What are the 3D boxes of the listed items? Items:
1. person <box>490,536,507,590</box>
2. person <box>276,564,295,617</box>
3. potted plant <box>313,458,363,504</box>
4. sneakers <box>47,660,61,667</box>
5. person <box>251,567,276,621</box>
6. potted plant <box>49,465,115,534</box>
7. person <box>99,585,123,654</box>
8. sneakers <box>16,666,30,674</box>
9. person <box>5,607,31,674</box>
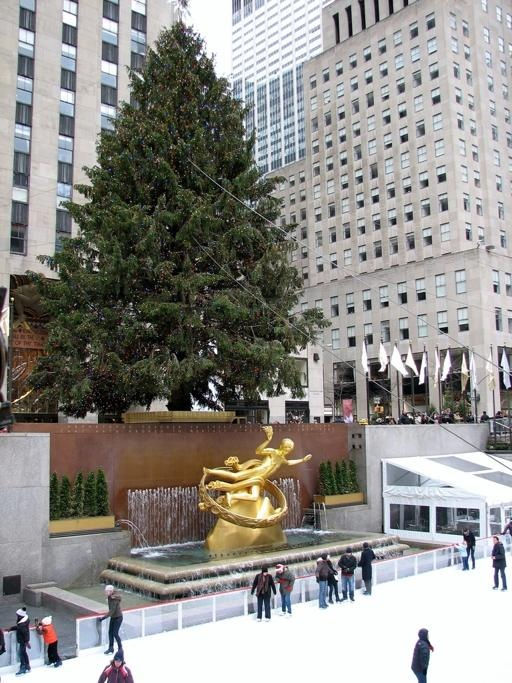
[{"bbox_3d":[6.116,5.603,15.145,0.316,1.200,1.289,-3,-7,21],"label":"person"},{"bbox_3d":[0.571,4.880,11.810,0.346,1.020,0.574,0,-7,2],"label":"person"},{"bbox_3d":[3.218,5.656,24.087,1.540,1.588,0.650,7,-18,-39],"label":"potted plant"},{"bbox_3d":[-2.972,4.745,8.837,0.215,0.073,0.137,1,-7,-6],"label":"sneakers"},{"bbox_3d":[0.138,4.790,11.472,0.466,1.052,0.717,0,-7,2],"label":"person"},{"bbox_3d":[-4.943,4.473,16.820,0.548,1.475,1.666,-18,-18,34],"label":"potted plant"},{"bbox_3d":[-2.236,4.297,9.293,0.363,1.108,0.903,1,-7,-12],"label":"person"},{"bbox_3d":[-3.298,4.673,8.522,0.190,0.090,0.121,3,-8,-28],"label":"sneakers"},{"bbox_3d":[-3.388,4.286,8.622,0.326,0.881,0.466,2,-7,-20],"label":"person"}]
